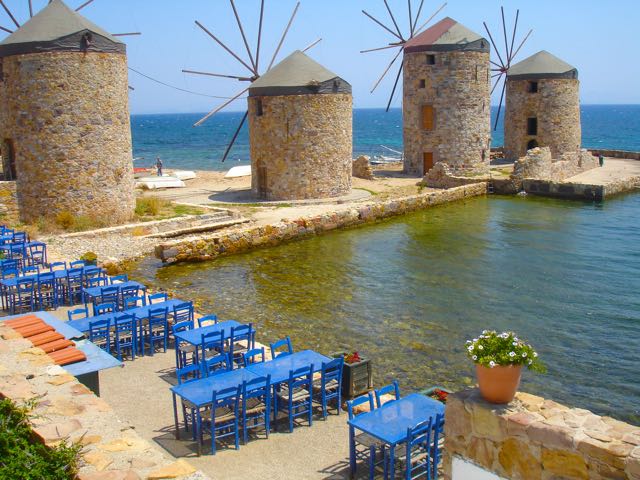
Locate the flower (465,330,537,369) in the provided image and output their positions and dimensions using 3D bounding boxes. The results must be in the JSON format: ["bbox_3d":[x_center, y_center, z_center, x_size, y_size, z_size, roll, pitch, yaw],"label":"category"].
[{"bbox_3d":[1.890,1.127,5.731,0.682,0.377,0.578,-3,8,-5],"label":"flower"}]
